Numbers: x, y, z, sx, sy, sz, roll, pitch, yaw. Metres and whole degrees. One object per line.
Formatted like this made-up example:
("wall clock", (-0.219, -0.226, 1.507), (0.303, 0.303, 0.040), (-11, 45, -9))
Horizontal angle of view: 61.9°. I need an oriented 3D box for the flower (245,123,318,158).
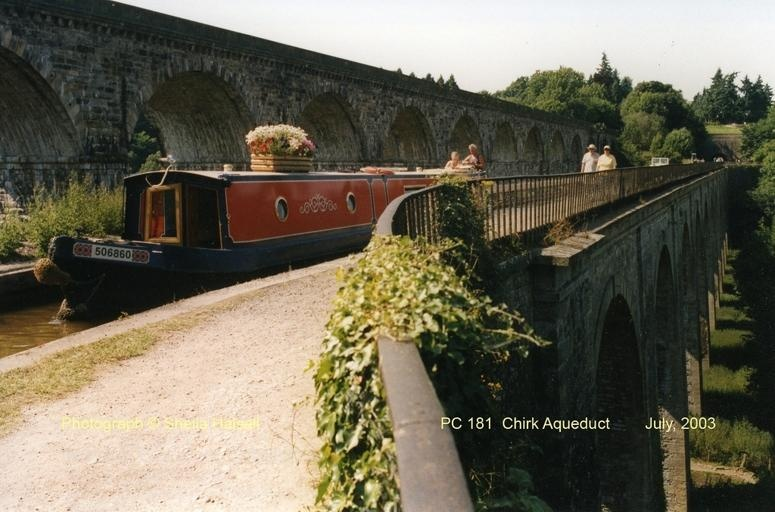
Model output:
("flower", (-2.320, -2.584, 14.893), (0.961, 0.608, 1.105), (8, 11, 24))
